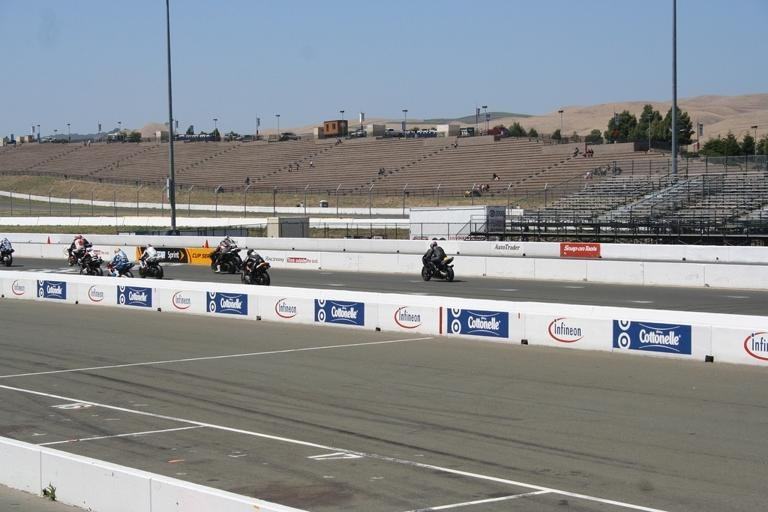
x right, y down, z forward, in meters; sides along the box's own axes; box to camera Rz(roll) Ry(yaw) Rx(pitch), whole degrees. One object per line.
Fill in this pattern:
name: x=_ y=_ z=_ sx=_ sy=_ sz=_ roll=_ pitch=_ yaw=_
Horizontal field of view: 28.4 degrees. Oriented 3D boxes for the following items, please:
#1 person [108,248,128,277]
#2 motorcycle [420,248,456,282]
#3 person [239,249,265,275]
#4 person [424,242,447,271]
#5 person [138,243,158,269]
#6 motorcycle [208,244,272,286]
person: x=-11.720 y=0.267 z=69.292 sx=0.986 sy=1.191 sz=2.059 roll=-1 pitch=-1 yaw=-9
motorcycle: x=2.435 y=0.385 z=70.180 sx=0.957 sy=1.419 sz=2.385 roll=-3 pitch=5 yaw=-33
person: x=-5.742 y=0.202 z=68.219 sx=0.798 sy=1.017 sz=1.124 roll=-1 pitch=-1 yaw=-18
person: x=2.294 y=-0.084 z=69.866 sx=0.772 sy=1.352 sz=0.887 roll=-1 pitch=-1 yaw=-13
person: x=-10.615 y=0.019 z=70.285 sx=0.940 sy=0.940 sz=0.530 roll=-1 pitch=-1 yaw=13
motorcycle: x=-6.440 y=0.371 z=70.309 sx=1.398 sy=1.690 sz=3.782 roll=-3 pitch=11 yaw=-39
